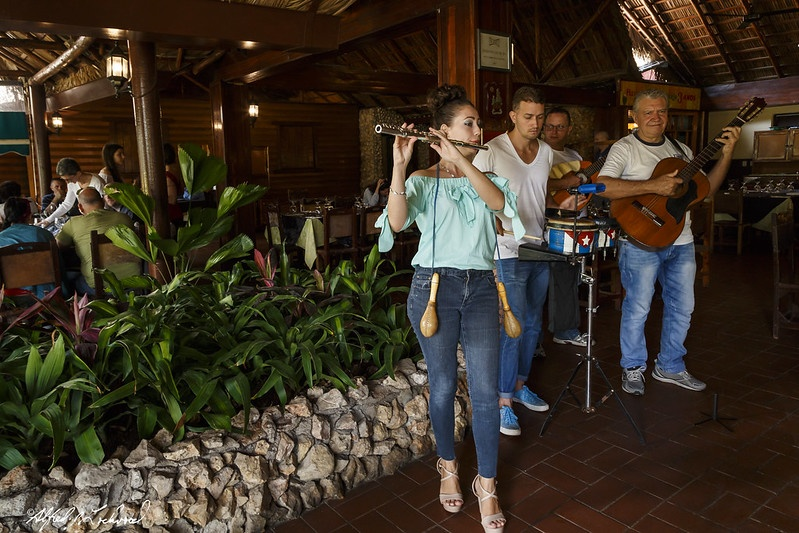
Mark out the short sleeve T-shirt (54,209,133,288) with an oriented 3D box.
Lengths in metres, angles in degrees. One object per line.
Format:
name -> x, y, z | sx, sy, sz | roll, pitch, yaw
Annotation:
short sleeve T-shirt -> -2.842, -0.150, 5.177 | 0.712, 0.708, 0.392 | -8, 8, -13

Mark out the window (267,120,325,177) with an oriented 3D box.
window -> -2.722, -3.023, 14.070 | 1.245, 1.225, 0.076 | -12, 9, -42

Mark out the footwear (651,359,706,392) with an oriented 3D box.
footwear -> 2.327, 0.912, 4.683 | 0.428, 0.177, 0.153 | 9, 13, 34

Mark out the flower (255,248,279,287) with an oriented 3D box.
flower -> -1.075, 0.016, 4.387 | 0.235, 0.318, 0.313 | -1, 0, 8

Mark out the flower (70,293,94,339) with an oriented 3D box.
flower -> -1.962, 0.293, 3.432 | 0.108, 0.239, 0.367 | -10, 14, -29

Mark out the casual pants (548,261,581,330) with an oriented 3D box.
casual pants -> 1.234, 0.221, 4.119 | 0.260, 0.523, 0.110 | -7, 12, -17

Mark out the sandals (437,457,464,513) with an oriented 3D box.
sandals -> 0.316, 1.349, 3.418 | 0.121, 0.149, 0.367 | -1, 14, 3

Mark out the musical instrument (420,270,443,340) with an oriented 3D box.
musical instrument -> 0.180, 0.226, 3.113 | 0.104, 0.354, 0.104 | 21, -10, -36

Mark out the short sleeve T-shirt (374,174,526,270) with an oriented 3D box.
short sleeve T-shirt -> 0.318, -0.247, 3.258 | 0.876, 0.570, 0.371 | -3, -1, -8

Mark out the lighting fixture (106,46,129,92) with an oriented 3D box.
lighting fixture -> -3.825, -2.681, 7.542 | 0.277, 0.693, 0.246 | -2, 3, -27

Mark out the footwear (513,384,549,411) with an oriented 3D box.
footwear -> 1.031, 1.053, 4.409 | 0.126, 0.136, 0.332 | -16, 16, -36
